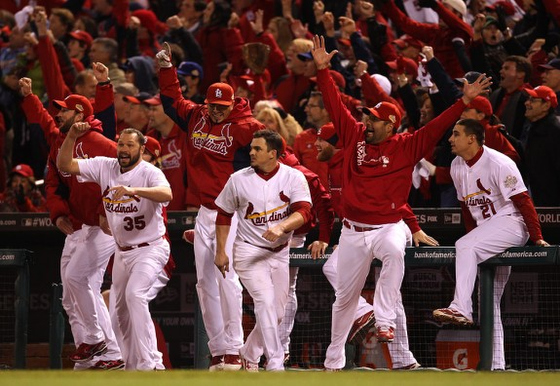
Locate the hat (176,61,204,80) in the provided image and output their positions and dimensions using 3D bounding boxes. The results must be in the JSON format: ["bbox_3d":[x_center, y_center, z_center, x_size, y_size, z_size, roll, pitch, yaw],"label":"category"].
[{"bbox_3d":[-1.474,-2.028,15.369,0.361,0.178,0.251,1,5,-23],"label":"hat"}]

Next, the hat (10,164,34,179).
[{"bbox_3d":[-4.209,-0.379,15.453,0.328,0.269,0.241,8,-15,-39],"label":"hat"}]

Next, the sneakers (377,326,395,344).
[{"bbox_3d":[1.291,1.715,11.600,0.199,0.181,0.220,-3,-11,5],"label":"sneakers"}]

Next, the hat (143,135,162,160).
[{"bbox_3d":[-1.797,-0.660,13.264,0.299,0.158,0.205,32,10,-13],"label":"hat"}]

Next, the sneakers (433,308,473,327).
[{"bbox_3d":[2.119,1.549,11.783,0.534,0.186,0.219,18,31,-6],"label":"sneakers"}]

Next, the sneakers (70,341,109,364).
[{"bbox_3d":[-2.539,2.067,12.686,0.542,0.242,0.209,-21,22,-26],"label":"sneakers"}]

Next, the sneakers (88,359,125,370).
[{"bbox_3d":[-2.327,2.299,12.701,0.491,0.200,0.160,2,-14,-6],"label":"sneakers"}]

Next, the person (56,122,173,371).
[{"bbox_3d":[-2.041,0.698,12.190,1.251,3.088,1.234,0,-12,-7],"label":"person"}]

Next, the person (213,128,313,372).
[{"bbox_3d":[-0.193,0.701,11.823,1.156,2.974,0.645,-7,-13,23],"label":"person"}]

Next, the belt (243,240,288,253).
[{"bbox_3d":[-0.114,0.669,11.856,0.277,0.093,0.248,18,0,4],"label":"belt"}]

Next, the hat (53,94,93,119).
[{"bbox_3d":[-2.902,-1.221,13.214,0.489,0.221,0.302,11,6,-8],"label":"hat"}]

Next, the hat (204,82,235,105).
[{"bbox_3d":[-0.793,-1.309,12.414,0.345,0.299,0.257,0,-12,-7],"label":"hat"}]

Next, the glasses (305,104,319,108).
[{"bbox_3d":[0.493,-1.336,14.252,0.150,0.041,0.140,1,1,-8],"label":"glasses"}]
